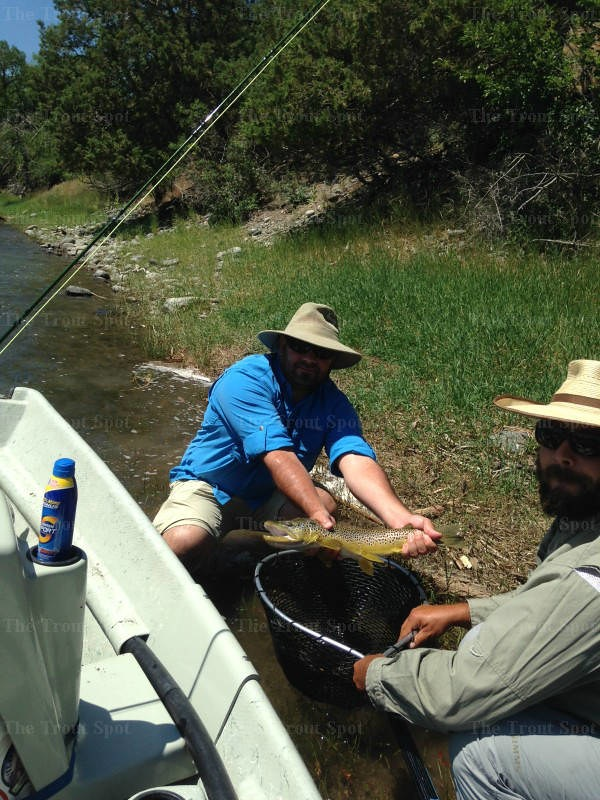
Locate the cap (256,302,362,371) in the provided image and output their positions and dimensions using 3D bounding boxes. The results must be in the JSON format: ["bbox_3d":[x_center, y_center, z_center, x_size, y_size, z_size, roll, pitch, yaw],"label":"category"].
[{"bbox_3d":[0.061,-0.277,3.391,0.351,0.159,0.326,11,-20,7],"label":"cap"}]

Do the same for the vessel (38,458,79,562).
[{"bbox_3d":[-0.507,0.227,1.752,0.075,0.215,0.083,19,20,40],"label":"vessel"}]
